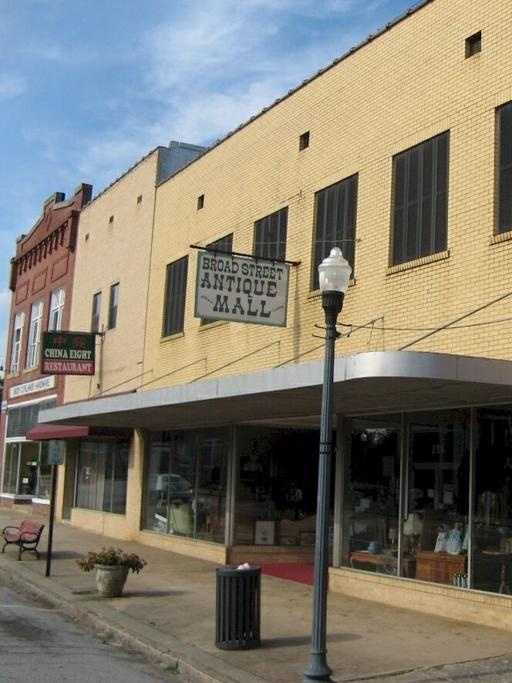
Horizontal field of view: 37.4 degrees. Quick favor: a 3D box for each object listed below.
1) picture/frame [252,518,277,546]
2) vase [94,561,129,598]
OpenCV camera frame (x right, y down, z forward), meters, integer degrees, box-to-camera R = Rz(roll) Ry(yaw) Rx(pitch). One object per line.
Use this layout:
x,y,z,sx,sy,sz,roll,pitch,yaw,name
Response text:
0.162,4.071,16.183,0.609,0.646,0.094,4,-10,-25,picture/frame
-2.055,3.447,10.979,0.520,0.375,0.509,9,-9,-43,vase
